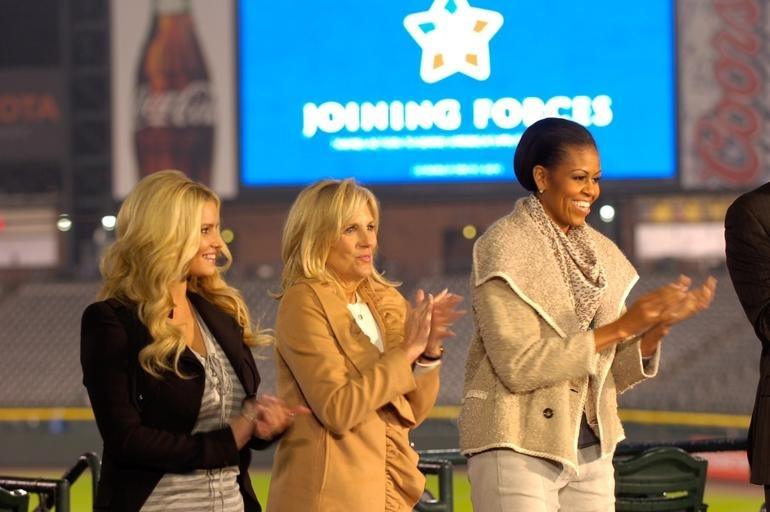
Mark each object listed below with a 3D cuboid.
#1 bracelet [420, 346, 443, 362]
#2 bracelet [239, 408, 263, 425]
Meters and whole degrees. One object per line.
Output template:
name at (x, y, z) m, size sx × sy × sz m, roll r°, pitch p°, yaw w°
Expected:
bracelet at (0.293, 0.601, 11.258) m, size 0.119 × 0.049 × 0.090 m, roll -9°, pitch -4°, yaw 15°
bracelet at (-0.804, 0.963, 11.020) m, size 0.085 × 0.074 × 0.020 m, roll 17°, pitch -43°, yaw -14°
